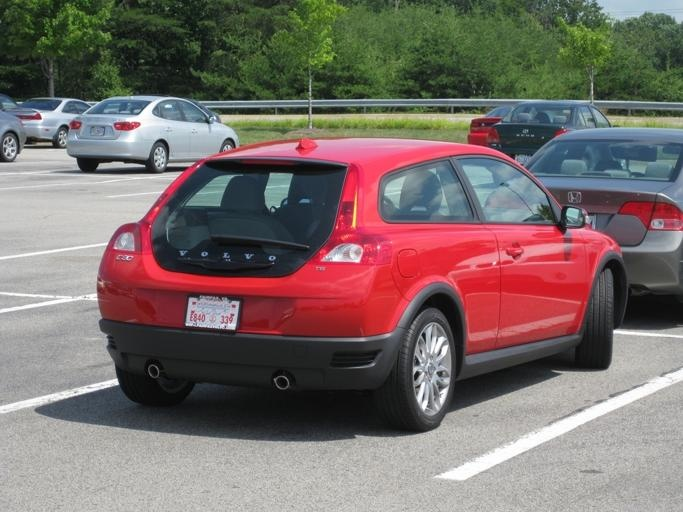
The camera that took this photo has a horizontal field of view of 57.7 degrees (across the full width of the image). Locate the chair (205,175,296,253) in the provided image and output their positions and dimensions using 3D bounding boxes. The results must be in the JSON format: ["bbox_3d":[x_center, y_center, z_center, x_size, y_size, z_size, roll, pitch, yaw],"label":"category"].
[{"bbox_3d":[-0.577,-0.296,3.991,0.516,0.474,0.796,-1,4,-13],"label":"chair"}]

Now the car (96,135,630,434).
[{"bbox_3d":[0.369,0.093,4.705,2.101,1.342,3.287,3,7,39],"label":"car"}]

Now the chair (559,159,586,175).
[{"bbox_3d":[2.925,-1.101,7.832,0.331,0.189,0.362,-2,1,-5],"label":"chair"}]
